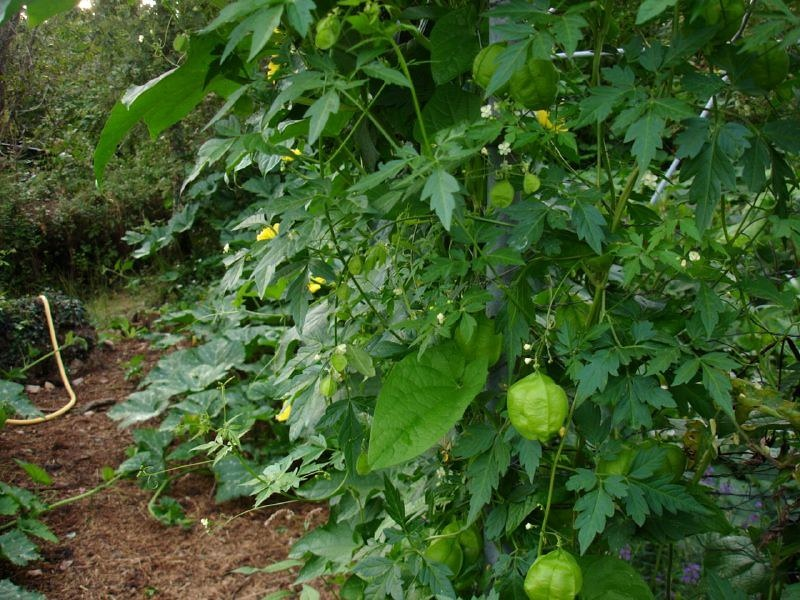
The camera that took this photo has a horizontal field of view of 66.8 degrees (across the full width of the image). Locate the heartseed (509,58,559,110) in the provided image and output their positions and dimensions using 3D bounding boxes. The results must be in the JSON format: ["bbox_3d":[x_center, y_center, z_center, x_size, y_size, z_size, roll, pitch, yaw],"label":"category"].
[{"bbox_3d":[0.267,-0.412,1.164,0.111,0.089,0.084,-3,14,-9],"label":"heartseed"}]

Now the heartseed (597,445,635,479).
[{"bbox_3d":[0.422,0.315,1.175,0.066,0.064,0.096,4,14,19],"label":"heartseed"}]

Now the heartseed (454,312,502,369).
[{"bbox_3d":[0.169,0.083,1.229,0.090,0.113,0.044,-1,-4,-10],"label":"heartseed"}]

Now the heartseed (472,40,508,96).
[{"bbox_3d":[0.182,-0.463,1.201,0.050,0.092,0.067,-7,15,-23],"label":"heartseed"}]

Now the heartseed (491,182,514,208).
[{"bbox_3d":[0.206,-0.210,1.217,0.043,0.060,0.036,4,-2,1],"label":"heartseed"}]
